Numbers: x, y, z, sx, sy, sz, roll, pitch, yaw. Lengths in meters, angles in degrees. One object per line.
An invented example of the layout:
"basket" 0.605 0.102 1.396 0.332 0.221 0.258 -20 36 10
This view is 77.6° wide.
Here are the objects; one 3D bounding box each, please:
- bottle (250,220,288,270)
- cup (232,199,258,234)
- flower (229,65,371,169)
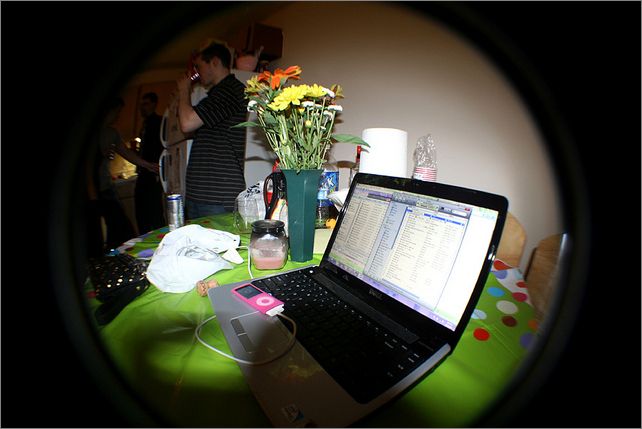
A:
"bottle" -0.144 0.089 1.108 0.106 0.127 0.102 -5 15 -20
"cup" -0.268 0.012 1.435 0.093 0.124 0.091 -2 8 0
"flower" -0.043 -0.250 1.211 0.315 0.272 0.351 18 16 39
